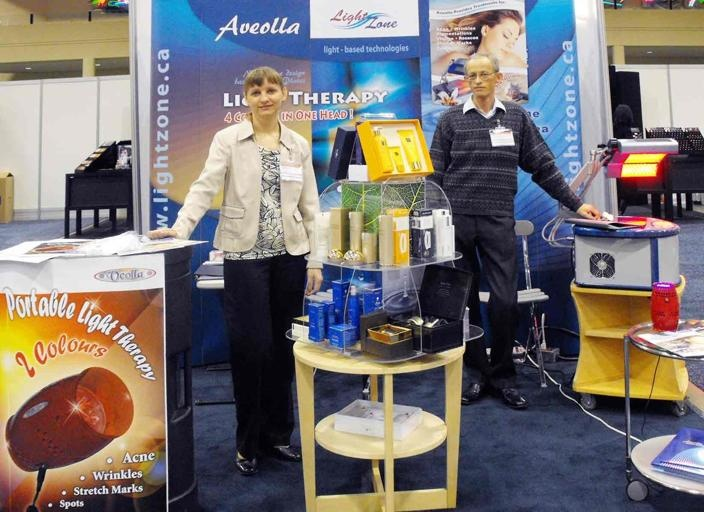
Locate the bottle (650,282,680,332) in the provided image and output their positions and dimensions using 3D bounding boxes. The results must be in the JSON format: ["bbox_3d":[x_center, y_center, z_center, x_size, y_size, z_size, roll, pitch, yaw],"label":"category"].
[{"bbox_3d":[1.472,0.228,2.852,0.125,0.218,0.129,-3,5,0],"label":"bottle"}]

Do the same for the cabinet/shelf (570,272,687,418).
[{"bbox_3d":[1.765,0.522,3.669,0.700,0.804,0.734,0,-6,-29],"label":"cabinet/shelf"}]

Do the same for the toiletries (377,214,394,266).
[{"bbox_3d":[0.149,-0.079,2.556,0.062,0.217,0.064,-1,13,3],"label":"toiletries"}]

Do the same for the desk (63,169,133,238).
[{"bbox_3d":[-3.277,-0.718,8.114,0.860,0.895,0.663,-1,11,-13],"label":"desk"}]

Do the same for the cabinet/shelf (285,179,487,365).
[{"bbox_3d":[0.219,-0.070,2.887,0.784,0.762,0.790,-9,11,-41],"label":"cabinet/shelf"}]

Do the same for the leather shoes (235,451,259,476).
[{"bbox_3d":[-0.549,1.099,3.192,0.064,0.060,0.145,0,10,-13],"label":"leather shoes"}]

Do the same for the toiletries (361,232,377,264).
[{"bbox_3d":[0.078,-0.051,2.602,0.067,0.131,0.044,-1,13,3],"label":"toiletries"}]

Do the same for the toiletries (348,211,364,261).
[{"bbox_3d":[0.023,-0.104,2.622,0.065,0.207,0.074,0,13,8],"label":"toiletries"}]

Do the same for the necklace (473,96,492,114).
[{"bbox_3d":[0.838,-1.006,3.837,0.088,0.092,0.111,-11,12,-32],"label":"necklace"}]

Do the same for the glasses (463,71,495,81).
[{"bbox_3d":[0.796,-1.159,3.727,0.170,0.055,0.057,1,14,13],"label":"glasses"}]

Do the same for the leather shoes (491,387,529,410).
[{"bbox_3d":[1.023,0.921,3.899,0.092,0.075,0.217,-1,-2,-20],"label":"leather shoes"}]

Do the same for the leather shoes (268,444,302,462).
[{"bbox_3d":[-0.355,1.084,3.290,0.188,0.082,0.071,-3,-6,21],"label":"leather shoes"}]
